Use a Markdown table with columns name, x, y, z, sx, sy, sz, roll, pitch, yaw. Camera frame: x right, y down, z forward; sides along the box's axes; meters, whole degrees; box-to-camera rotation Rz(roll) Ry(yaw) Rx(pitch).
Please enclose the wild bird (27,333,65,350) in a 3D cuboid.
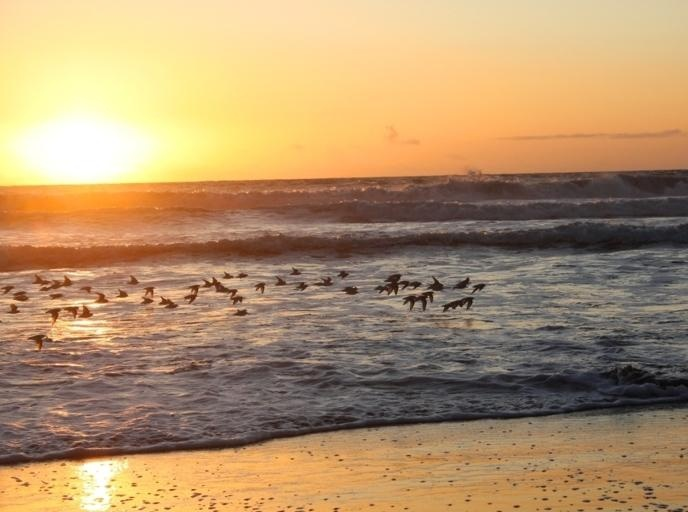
| name | x | y | z | sx | sy | sz | roll | pitch | yaw |
| --- | --- | --- | --- | --- | --- | --- | --- | --- | --- |
| wild bird | -5.345 | 1.483 | 15.779 | 0.535 | 0.128 | 0.521 | 5 | 11 | -25 |
